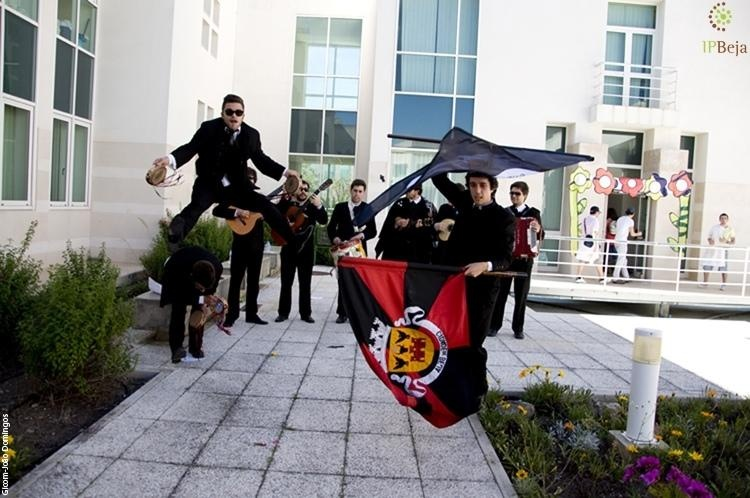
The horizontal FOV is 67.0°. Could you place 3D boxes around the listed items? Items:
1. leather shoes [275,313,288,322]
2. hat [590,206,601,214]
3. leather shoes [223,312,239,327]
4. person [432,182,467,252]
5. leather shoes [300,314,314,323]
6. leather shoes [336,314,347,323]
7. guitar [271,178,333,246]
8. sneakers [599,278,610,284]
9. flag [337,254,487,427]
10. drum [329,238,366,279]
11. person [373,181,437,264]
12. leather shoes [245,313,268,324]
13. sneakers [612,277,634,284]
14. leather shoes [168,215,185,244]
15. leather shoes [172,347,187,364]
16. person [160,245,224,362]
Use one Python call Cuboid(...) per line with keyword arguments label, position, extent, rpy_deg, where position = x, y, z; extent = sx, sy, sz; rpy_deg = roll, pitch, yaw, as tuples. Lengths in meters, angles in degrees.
Cuboid(label="leather shoes", position=(-1.718, 1.260, 10.345), extent=(0.093, 0.123, 0.276), rpy_deg=(5, -5, 11))
Cuboid(label="hat", position=(6.104, -1.064, 15.758), extent=(0.223, 0.227, 0.326), rpy_deg=(6, 21, 39))
Cuboid(label="leather shoes", position=(-2.490, 1.206, 9.855), extent=(0.173, 0.279, 0.570), rpy_deg=(3, 7, 1))
Cuboid(label="person", position=(1.147, -0.578, 9.202), extent=(0.495, 1.196, 0.159), rpy_deg=(16, 0, 14))
Cuboid(label="leather shoes", position=(-1.252, 1.274, 10.464), extent=(0.262, 0.135, 0.109), rpy_deg=(5, 5, 27))
Cuboid(label="leather shoes", position=(-0.639, 1.295, 10.546), extent=(0.089, 0.147, 0.307), rpy_deg=(1, -12, 9))
Cuboid(label="guitar", position=(-1.297, -0.595, 10.013), extent=(0.658, 1.600, 0.212), rpy_deg=(41, 9, 20))
Cuboid(label="sneakers", position=(6.297, 0.867, 15.605), extent=(0.153, 0.216, 0.500), rpy_deg=(-8, -3, 10))
Cuboid(label="flag", position=(0.515, 1.160, 7.114), extent=(1.567, 2.046, 0.365), rpy_deg=(6, 1, 1))
Cuboid(label="drum", position=(-0.490, 0.058, 9.428), extent=(0.640, 0.570, 0.411), rpy_deg=(-3, 4, 2))
Cuboid(label="person", position=(0.552, -0.424, 9.589), extent=(0.921, 1.319, 0.390), rpy_deg=(8, 3, 16))
Cuboid(label="leather shoes", position=(-2.127, 1.228, 10.163), extent=(0.429, 0.229, 0.160), rpy_deg=(3, 1, -9))
Cuboid(label="sneakers", position=(7.022, 0.890, 16.170), extent=(0.480, 0.221, 0.169), rpy_deg=(-2, 3, 36))
Cuboid(label="leather shoes", position=(-2.653, -0.255, 7.552), extent=(0.196, 0.370, 0.165), rpy_deg=(0, 6, -23))
Cuboid(label="leather shoes", position=(-2.850, 1.549, 8.276), extent=(0.254, 0.142, 0.133), rpy_deg=(-11, 8, 0))
Cuboid(label="person", position=(-2.670, 0.805, 8.212), extent=(0.928, 1.677, 0.476), rpy_deg=(5, 6, 20))
